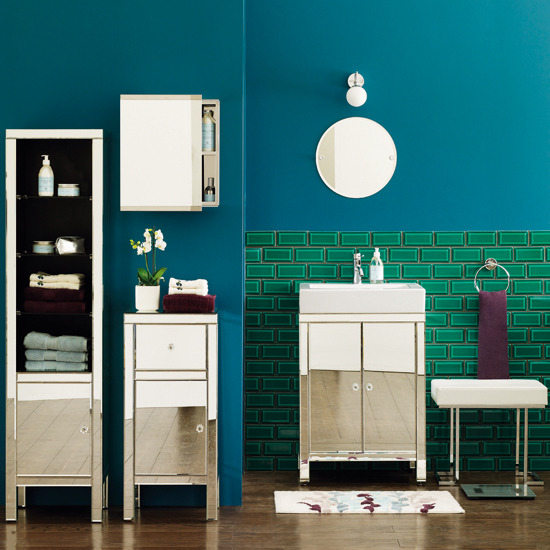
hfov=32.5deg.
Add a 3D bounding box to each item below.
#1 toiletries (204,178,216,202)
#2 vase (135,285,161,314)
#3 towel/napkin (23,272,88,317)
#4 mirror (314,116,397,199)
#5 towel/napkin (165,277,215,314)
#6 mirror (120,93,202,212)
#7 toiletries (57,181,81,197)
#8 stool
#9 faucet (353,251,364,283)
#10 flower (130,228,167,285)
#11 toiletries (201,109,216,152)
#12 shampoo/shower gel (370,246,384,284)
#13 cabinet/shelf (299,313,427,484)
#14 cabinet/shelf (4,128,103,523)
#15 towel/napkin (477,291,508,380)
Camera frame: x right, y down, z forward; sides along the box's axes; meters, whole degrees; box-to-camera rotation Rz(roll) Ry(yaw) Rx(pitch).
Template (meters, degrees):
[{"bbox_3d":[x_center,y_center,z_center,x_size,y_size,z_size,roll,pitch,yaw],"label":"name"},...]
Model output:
[{"bbox_3d":[-0.349,-0.456,4.989,0.061,0.127,0.076,-1,11,-5],"label":"toiletries"},{"bbox_3d":[-0.657,0.126,4.963,0.131,0.169,0.124,0,-4,-2],"label":"vase"},{"bbox_3d":[-1.155,0.102,4.912,0.230,0.166,0.232,1,-1,-4],"label":"towel/napkin"},{"bbox_3d":[0.487,-0.708,5.675,0.431,0.483,0.107,-3,5,0],"label":"mirror"},{"bbox_3d":[-0.449,0.115,4.921,0.188,0.144,0.191,1,-2,-2],"label":"towel/napkin"},{"bbox_3d":[-0.600,-0.654,4.890,0.531,0.787,0.058,0,2,4],"label":"mirror"},{"bbox_3d":[-1.084,-0.447,4.941,0.082,0.054,0.079,1,-1,-44],"label":"toiletries"},{"bbox_3d":[1.214,0.898,5.434,0.628,0.607,0.354,1,11,7],"label":"stool"},{"bbox_3d":[0.492,-0.045,5.582,0.062,0.187,0.192,1,11,5],"label":"faucet"},{"bbox_3d":[-0.678,-0.093,5.023,0.205,0.302,0.218,-2,11,-9],"label":"flower"},{"bbox_3d":[-0.351,-0.768,4.953,0.071,0.221,0.109,-1,11,-3],"label":"toiletries"},{"bbox_3d":[0.600,-0.063,5.577,0.087,0.199,0.151,1,11,6],"label":"shampoo/shower gel"},{"bbox_3d":[0.505,0.662,5.572,0.917,1.356,0.704,0,-3,2],"label":"cabinet/shelf"},{"bbox_3d":[-1.162,0.255,4.932,0.574,2.009,0.534,-2,11,-10],"label":"cabinet/shelf"},{"bbox_3d":[1.282,0.367,5.525,0.148,0.560,0.035,0,-2,4],"label":"towel/napkin"}]
